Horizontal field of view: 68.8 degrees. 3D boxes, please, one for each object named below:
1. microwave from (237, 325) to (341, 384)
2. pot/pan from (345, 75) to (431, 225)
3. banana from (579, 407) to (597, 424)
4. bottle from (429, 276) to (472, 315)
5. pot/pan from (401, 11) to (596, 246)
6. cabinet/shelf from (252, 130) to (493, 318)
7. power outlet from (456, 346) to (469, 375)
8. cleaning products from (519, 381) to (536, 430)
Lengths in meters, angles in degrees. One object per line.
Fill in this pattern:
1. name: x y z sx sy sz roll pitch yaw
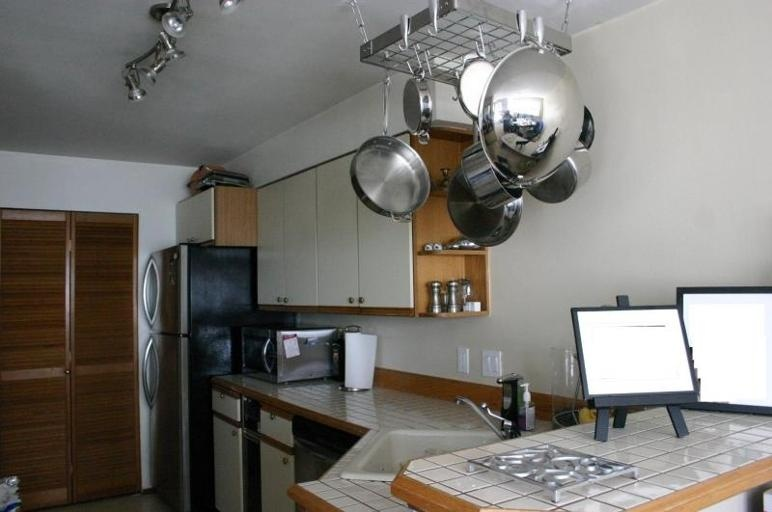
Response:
1. microwave: -0.680 0.646 4.236 0.426 0.349 0.572 8 -9 -40
2. pot/pan: 0.021 -0.410 2.374 0.354 0.603 0.089 1 5 24
3. banana: 0.905 0.721 2.552 0.070 0.072 0.102 0 5 19
4. bottle: 0.374 0.231 3.310 0.258 0.173 0.180 -1 5 9
5. pot/pan: 0.403 -0.453 2.081 0.609 0.884 0.916 0 5 17
6. cabinet/shelf: -0.067 -0.177 3.375 0.322 0.684 1.407 5 -5 -35
7. power outlet: 0.469 0.630 3.387 0.026 0.160 0.099 -6 6 -38
8. cleaning products: 0.719 0.766 2.881 0.072 0.245 0.111 0 5 15
